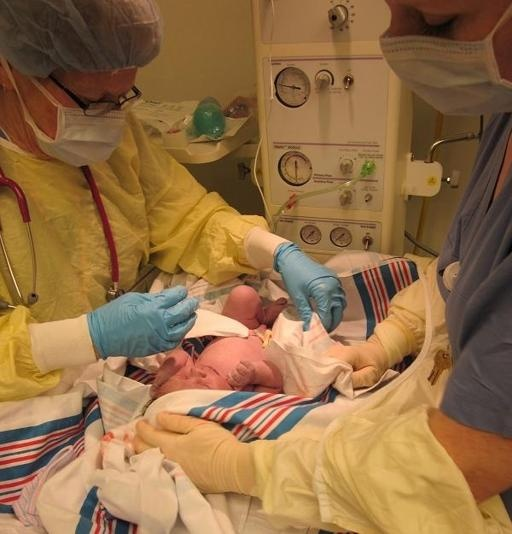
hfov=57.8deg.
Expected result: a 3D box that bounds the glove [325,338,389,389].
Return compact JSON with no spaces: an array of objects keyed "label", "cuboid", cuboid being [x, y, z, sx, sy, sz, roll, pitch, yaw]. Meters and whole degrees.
[{"label":"glove","cuboid":[0.290,0.262,1.282,0.117,0.043,0.126,-6,39,5]}]

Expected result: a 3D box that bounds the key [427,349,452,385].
[{"label":"key","cuboid":[0.452,0.247,1.152,0.025,0.089,0.035,17,13,-39]}]

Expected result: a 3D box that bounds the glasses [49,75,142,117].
[{"label":"glasses","cuboid":[-0.393,-0.448,1.238,0.127,0.084,0.310,5,15,14]}]
